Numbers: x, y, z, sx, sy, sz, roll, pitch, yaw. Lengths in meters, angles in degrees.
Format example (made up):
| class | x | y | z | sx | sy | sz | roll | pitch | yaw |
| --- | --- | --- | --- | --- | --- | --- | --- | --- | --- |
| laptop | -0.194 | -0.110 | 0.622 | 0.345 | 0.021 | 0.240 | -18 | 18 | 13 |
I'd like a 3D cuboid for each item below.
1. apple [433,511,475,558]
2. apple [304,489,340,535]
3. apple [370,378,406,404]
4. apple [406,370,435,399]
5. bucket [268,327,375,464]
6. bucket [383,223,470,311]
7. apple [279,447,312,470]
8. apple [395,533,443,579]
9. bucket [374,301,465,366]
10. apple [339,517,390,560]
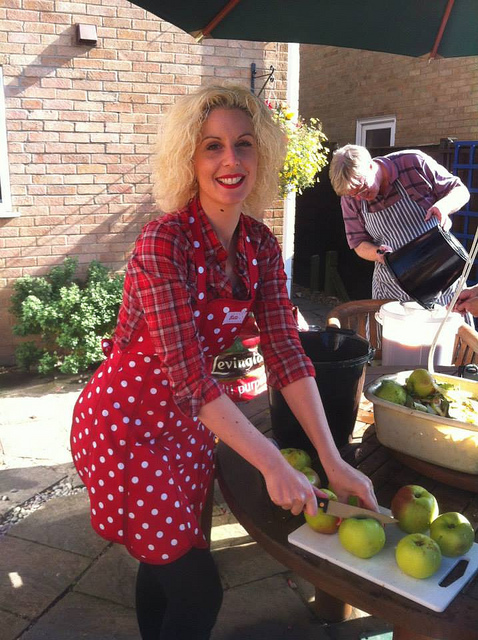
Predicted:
| class | x | y | z | sx | sy | sz | roll | pitch | yaw |
| --- | --- | --- | --- | --- | --- | --- | --- | --- | --- |
| apple | 0.413 | 0.411 | 1.028 | 0.081 | 0.069 | 0.077 | 7 | 27 | 29 |
| apple | 0.176 | 0.417 | 1.168 | 0.085 | 0.089 | 0.079 | 1 | 4 | 9 |
| apple | 0.421 | 0.195 | 1.498 | 0.053 | 0.036 | 0.066 | 9 | 4 | 24 |
| apple | 0.496 | 0.178 | 1.472 | 0.075 | 0.076 | 0.071 | 4 | -5 | 4 |
| bucket | 0.250 | 0.206 | 1.606 | 0.284 | 0.307 | 0.424 | 2 | 12 | 15 |
| bucket | 0.742 | -0.204 | 2.150 | 0.302 | 0.344 | 0.183 | 1 | 12 | 12 |
| apple | 0.138 | 0.338 | 1.356 | 0.073 | 0.062 | 0.064 | -1 | 13 | -14 |
| apple | 0.331 | 0.436 | 0.990 | 0.080 | 0.053 | 0.078 | -6 | 12 | -23 |
| bucket | 0.755 | 0.086 | 2.304 | 0.360 | 0.297 | 0.335 | -1 | 11 | 0 |
| apple | 0.238 | 0.417 | 1.023 | 0.087 | 0.068 | 0.078 | -4 | -5 | -3 |
